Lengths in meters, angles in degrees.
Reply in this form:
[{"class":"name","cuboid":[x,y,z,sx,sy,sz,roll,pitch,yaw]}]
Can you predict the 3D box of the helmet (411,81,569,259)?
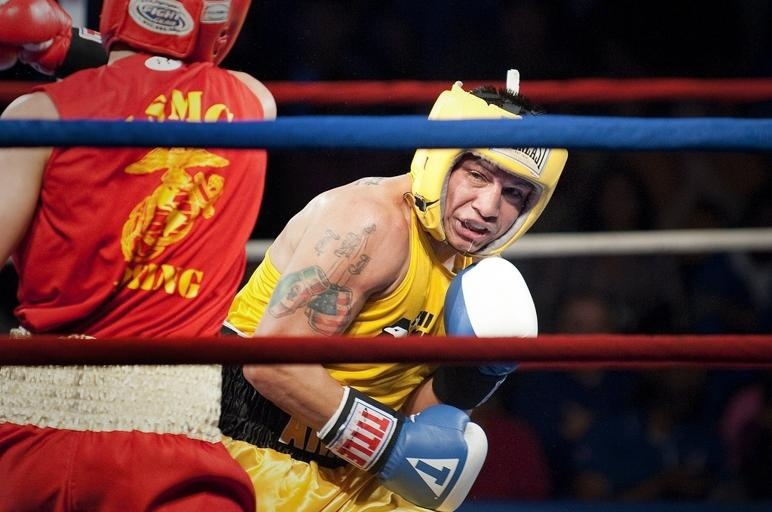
[{"class":"helmet","cuboid":[0.277,-0.244,2.629,0.341,0.377,0.408,36,47,2]}]
